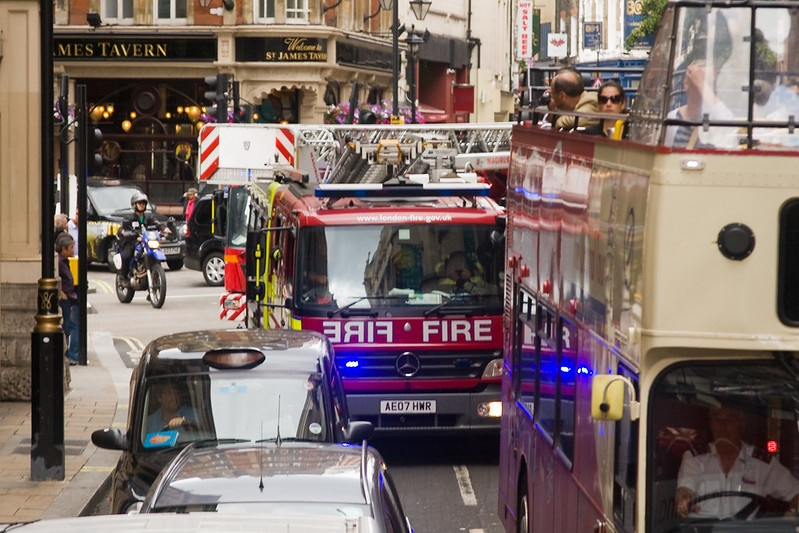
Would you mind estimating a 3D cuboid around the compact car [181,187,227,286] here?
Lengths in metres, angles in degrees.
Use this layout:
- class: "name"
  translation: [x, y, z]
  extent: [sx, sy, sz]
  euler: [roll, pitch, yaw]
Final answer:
- class: "compact car"
  translation: [-3.996, -0.484, 33.144]
  extent: [1.166, 1.299, 2.094]
  euler: [-2, 6, -16]

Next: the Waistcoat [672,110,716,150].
- class: "Waistcoat"
  translation: [2.158, -1.003, 11.498]
  extent: [0.254, 0.109, 0.196]
  euler: [4, -11, 22]

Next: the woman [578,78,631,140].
- class: "woman"
  translation: [1.855, -1.486, 14.183]
  extent: [0.381, 0.779, 0.424]
  euler: [1, 21, 16]

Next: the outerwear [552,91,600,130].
- class: "outerwear"
  translation: [1.649, -1.451, 14.457]
  extent: [0.425, 0.224, 0.349]
  euler: [-7, 0, 24]

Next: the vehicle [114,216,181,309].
- class: "vehicle"
  translation: [-5.143, -0.042, 30.786]
  extent: [0.698, 1.606, 2.189]
  euler: [0, 0, -33]

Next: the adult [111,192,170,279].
- class: "adult"
  translation: [-5.224, -0.509, 31.188]
  extent: [0.844, 2.010, 2.594]
  euler: [-5, 9, -27]

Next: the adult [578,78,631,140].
- class: "adult"
  translation: [1.879, -1.473, 14.152]
  extent: [0.381, 0.779, 0.424]
  euler: [1, 21, 16]

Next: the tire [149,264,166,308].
- class: "tire"
  translation: [-4.692, 0.410, 29.963]
  extent: [0.316, 0.839, 1.031]
  euler: [-2, 9, -13]

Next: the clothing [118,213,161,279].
- class: "clothing"
  translation: [-5.330, -0.583, 31.487]
  extent: [0.697, 1.070, 1.483]
  euler: [-1, 0, -21]

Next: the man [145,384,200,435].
- class: "man"
  translation: [-2.172, 1.385, 14.790]
  extent: [0.563, 0.678, 0.332]
  euler: [1, -15, -13]

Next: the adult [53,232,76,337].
- class: "adult"
  translation: [-4.986, 0.353, 23.211]
  extent: [0.289, 1.597, 1.061]
  euler: [-2, 9, -12]

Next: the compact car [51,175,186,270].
- class: "compact car"
  translation: [-6.508, -1.011, 36.198]
  extent: [1.661, 1.938, 3.501]
  euler: [-2, 4, -40]

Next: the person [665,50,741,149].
- class: "person"
  translation: [2.280, -1.158, 11.799]
  extent: [0.512, 0.805, 0.372]
  euler: [4, -20, 9]

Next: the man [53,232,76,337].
- class: "man"
  translation: [-4.991, 0.349, 23.231]
  extent: [0.289, 1.597, 1.020]
  euler: [-2, 9, -12]

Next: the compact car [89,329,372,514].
- class: "compact car"
  translation: [-1.632, 1.915, 15.561]
  extent: [2.447, 2.415, 4.607]
  euler: [-1, -1, -8]

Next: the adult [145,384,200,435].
- class: "adult"
  translation: [-2.149, 1.388, 14.803]
  extent: [0.563, 0.678, 0.332]
  euler: [1, -15, -13]

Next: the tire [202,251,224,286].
- class: "tire"
  translation: [-3.960, 0.056, 33.738]
  extent: [0.627, 0.757, 0.247]
  euler: [1, 7, 23]

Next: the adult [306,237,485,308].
- class: "adult"
  translation: [-0.013, 0.038, 17.874]
  extent: [2.349, 1.017, 0.374]
  euler: [-1, 8, -5]

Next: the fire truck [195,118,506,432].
- class: "fire truck"
  translation: [-0.508, 0.077, 20.711]
  extent: [2.084, 2.987, 5.980]
  euler: [0, 1, -5]
